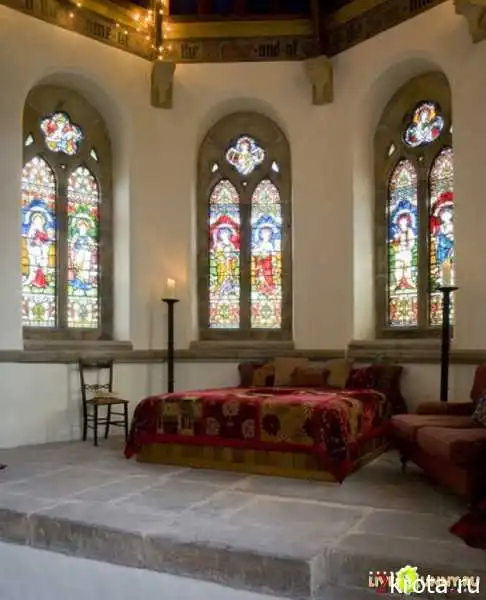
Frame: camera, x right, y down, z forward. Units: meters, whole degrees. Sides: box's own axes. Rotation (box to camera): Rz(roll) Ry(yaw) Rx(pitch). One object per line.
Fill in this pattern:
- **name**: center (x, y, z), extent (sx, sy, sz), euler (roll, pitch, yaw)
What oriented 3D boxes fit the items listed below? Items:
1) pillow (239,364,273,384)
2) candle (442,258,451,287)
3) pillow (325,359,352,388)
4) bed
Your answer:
- **pillow**: center (0.154, 0.836, 6.748), extent (0.411, 0.220, 0.113), euler (-7, -20, 38)
- **candle**: center (1.850, -0.218, 5.464), extent (0.073, 0.200, 0.139), euler (-4, 10, 23)
- **pillow**: center (1.010, 0.769, 6.301), extent (0.277, 0.272, 0.087), euler (-8, -34, 42)
- **bed**: center (0.232, 1.154, 5.393), extent (1.954, 0.838, 1.481), euler (-2, 10, 29)
